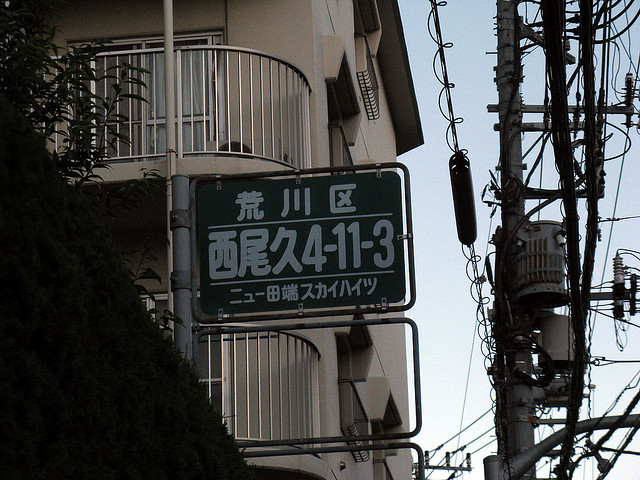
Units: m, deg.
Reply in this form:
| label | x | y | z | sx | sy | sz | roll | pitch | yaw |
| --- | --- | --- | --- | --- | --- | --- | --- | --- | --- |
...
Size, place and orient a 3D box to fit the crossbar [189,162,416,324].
| label | x | y | z | sx | sy | sz | roll | pitch | yaw |
| --- | --- | --- | --- | --- | --- | --- | --- | --- | --- |
| crossbar | -0.182 | 0.074 | 18.539 | 1.608 | 1.201 | 0.079 | -4 | -25 | 2 |

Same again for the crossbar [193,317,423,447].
| label | x | y | z | sx | sy | sz | roll | pitch | yaw |
| --- | --- | --- | --- | --- | --- | --- | --- | --- | --- |
| crossbar | 0.261 | 1.471 | 18.828 | 2.024 | 1.248 | 0.078 | -7 | -9 | 42 |

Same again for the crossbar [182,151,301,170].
| label | x | y | z | sx | sy | sz | roll | pitch | yaw |
| --- | --- | --- | --- | --- | --- | --- | --- | --- | --- |
| crossbar | -0.983 | -0.907 | 22.158 | 1.111 | 0.049 | 0.225 | 6 | -43 | -22 |

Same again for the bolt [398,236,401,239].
| label | x | y | z | sx | sy | sz | roll | pitch | yaw |
| --- | --- | --- | --- | --- | --- | --- | --- | --- | --- |
| bolt | 0.816 | -0.010 | 18.599 | 0.027 | 0.026 | 0.013 | 10 | 1 | -17 |

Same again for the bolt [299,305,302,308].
| label | x | y | z | sx | sy | sz | roll | pitch | yaw |
| --- | --- | --- | --- | --- | --- | --- | --- | --- | --- |
| bolt | -0.194 | 0.691 | 18.560 | 0.028 | 0.027 | 0.012 | 10 | 1 | -6 |

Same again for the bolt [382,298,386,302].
| label | x | y | z | sx | sy | sz | roll | pitch | yaw |
| --- | --- | --- | --- | --- | --- | --- | --- | --- | --- |
| bolt | 0.656 | 0.625 | 18.458 | 0.035 | 0.039 | 0.011 | 10 | 1 | 5 |

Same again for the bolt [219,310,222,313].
| label | x | y | z | sx | sy | sz | roll | pitch | yaw |
| --- | --- | --- | --- | --- | --- | --- | --- | --- | --- |
| bolt | -1.013 | 0.746 | 18.617 | 0.030 | 0.026 | 0.007 | 11 | 1 | 3 |
